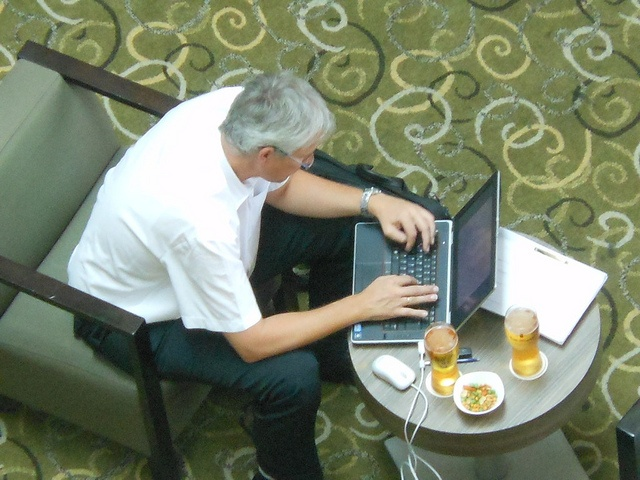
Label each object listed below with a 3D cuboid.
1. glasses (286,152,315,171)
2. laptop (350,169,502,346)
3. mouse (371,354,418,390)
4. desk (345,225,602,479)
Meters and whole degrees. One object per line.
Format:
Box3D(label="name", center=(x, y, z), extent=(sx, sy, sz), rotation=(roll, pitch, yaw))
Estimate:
Box3D(label="glasses", center=(-0.047, -0.181, 1.550), extent=(0.051, 0.043, 0.016), rotation=(36, 104, -2))
Box3D(label="laptop", center=(0.250, 0.035, 1.576), extent=(0.340, 0.221, 0.373), rotation=(0, 52, 10))
Box3D(label="mouse", center=(0.166, 0.298, 1.486), extent=(0.096, 0.026, 0.058), rotation=(32, 63, 29))
Box3D(label="desk", center=(0.378, 0.269, 1.449), extent=(0.427, 0.324, 0.431), rotation=(-1, 58, 7))
